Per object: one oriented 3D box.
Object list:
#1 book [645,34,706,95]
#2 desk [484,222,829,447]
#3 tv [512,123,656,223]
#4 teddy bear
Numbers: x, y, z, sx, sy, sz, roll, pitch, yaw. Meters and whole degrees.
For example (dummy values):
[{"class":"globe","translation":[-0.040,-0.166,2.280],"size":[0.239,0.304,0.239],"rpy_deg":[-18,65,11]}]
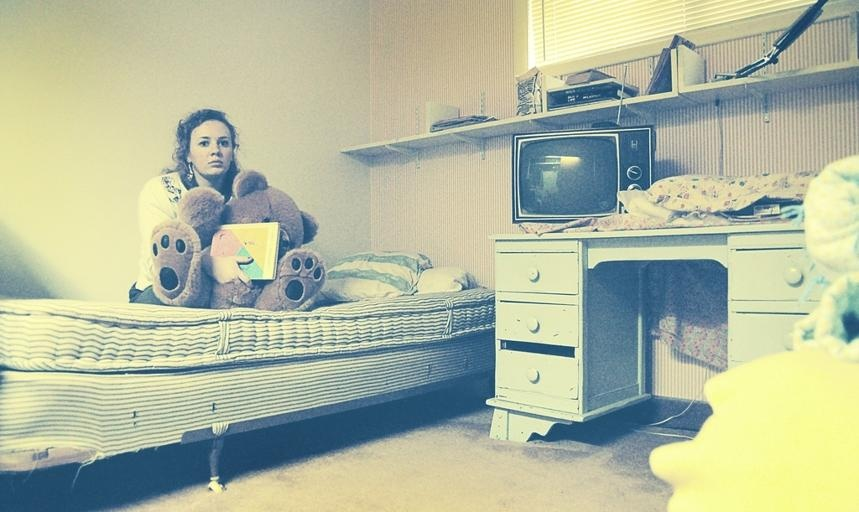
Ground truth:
[{"class":"book","translation":[1.344,-1.039,3.669],"size":[0.309,0.313,0.178],"rpy_deg":[0,10,-1]},{"class":"desk","translation":[1.276,0.436,3.337],"size":[0.792,1.083,1.934],"rpy_deg":[1,-3,-38]},{"class":"tv","translation":[0.768,-0.430,3.916],"size":[0.900,0.514,0.537],"rpy_deg":[-3,3,-10]},{"class":"teddy bear","translation":[-1.033,-0.185,3.730],"size":[0.884,0.961,1.012],"rpy_deg":[-4,3,-17]}]
